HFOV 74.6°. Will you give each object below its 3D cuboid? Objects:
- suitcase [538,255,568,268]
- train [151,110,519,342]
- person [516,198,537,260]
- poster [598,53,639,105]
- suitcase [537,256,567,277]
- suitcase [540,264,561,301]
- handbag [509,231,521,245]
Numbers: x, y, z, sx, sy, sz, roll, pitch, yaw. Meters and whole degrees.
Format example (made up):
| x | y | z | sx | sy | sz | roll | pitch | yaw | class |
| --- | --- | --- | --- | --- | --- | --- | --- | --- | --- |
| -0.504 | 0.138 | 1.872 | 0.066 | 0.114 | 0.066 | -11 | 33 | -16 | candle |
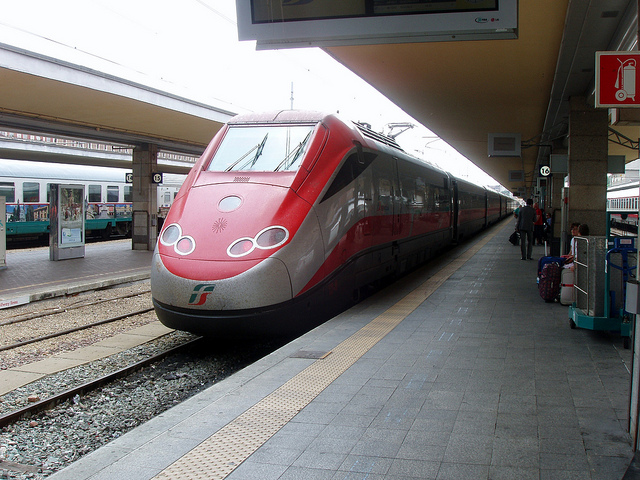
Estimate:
| x | y | z | sx | sy | sz | roll | pitch | yaw | class |
| --- | --- | --- | --- | --- | --- | --- | --- | --- | --- |
| 4.301 | 0.377 | 7.837 | 0.386 | 0.267 | 0.357 | -3 | 5 | -31 | suitcase |
| 2.880 | -0.877 | 14.716 | 2.528 | 3.162 | 20.246 | 0 | 4 | 24 | train |
| 6.931 | -0.387 | 14.201 | 0.664 | 2.076 | 0.598 | 3 | -4 | 18 | person |
| 2.280 | -1.227 | 3.206 | 0.053 | 0.411 | 0.401 | -6 | 12 | -19 | poster |
| 4.350 | 0.407 | 8.075 | 0.387 | 0.568 | 0.596 | -1 | -8 | 17 | suitcase |
| 4.192 | 0.760 | 7.674 | 0.307 | 0.703 | 0.324 | 0 | 5 | 20 | suitcase |
| 8.359 | -0.084 | 18.109 | 0.447 | 0.583 | 0.988 | -6 | -13 | 14 | handbag |
